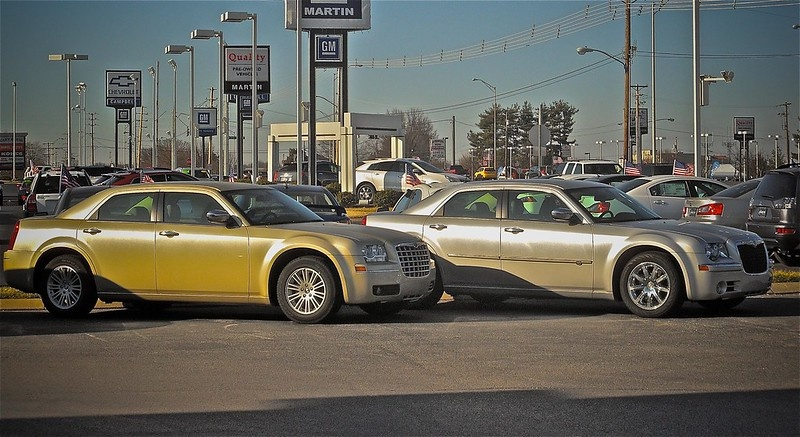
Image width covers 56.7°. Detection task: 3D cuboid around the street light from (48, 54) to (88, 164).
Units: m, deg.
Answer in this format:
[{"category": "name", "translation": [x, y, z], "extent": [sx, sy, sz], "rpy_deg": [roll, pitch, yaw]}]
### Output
[{"category": "street light", "translation": [-24.864, -8.699, 55.602], "extent": [2.801, 6.871, 2.342], "rpy_deg": [-1, -1, -10]}]

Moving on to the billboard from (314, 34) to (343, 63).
[{"category": "billboard", "translation": [-5.187, -12.096, 52.910], "extent": [2.179, 1.918, 0.157], "rpy_deg": [-8, 17, -33]}]

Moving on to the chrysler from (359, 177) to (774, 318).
[{"category": "chrysler", "translation": [3.068, 0.597, 15.212], "extent": [7.977, 2.336, 3.102], "rpy_deg": [-3, -3, 21]}]

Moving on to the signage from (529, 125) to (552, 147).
[{"category": "signage", "translation": [7.262, -4.269, 38.697], "extent": [1.333, 1.232, 0.299], "rpy_deg": [2, 4, 10]}]

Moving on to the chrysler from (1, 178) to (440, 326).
[{"category": "chrysler", "translation": [-3.505, 0.707, 14.904], "extent": [7.869, 2.294, 3.080], "rpy_deg": [-1, -2, 12]}]

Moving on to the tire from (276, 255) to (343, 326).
[{"category": "tire", "translation": [-1.639, 1.270, 13.468], "extent": [1.273, 1.183, 0.440], "rpy_deg": [5, -2, 14]}]

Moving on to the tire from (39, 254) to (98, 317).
[{"category": "tire", "translation": [-6.410, 1.262, 14.311], "extent": [1.170, 1.087, 0.367], "rpy_deg": [-8, -8, 12]}]

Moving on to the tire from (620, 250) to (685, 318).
[{"category": "tire", "translation": [4.726, 1.187, 13.793], "extent": [1.239, 1.159, 0.398], "rpy_deg": [-8, -3, 25]}]

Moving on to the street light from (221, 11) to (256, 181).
[{"category": "street light", "translation": [-9.199, -6.847, 42.058], "extent": [2.358, 9.322, 1.288], "rpy_deg": [-8, 20, -32]}]

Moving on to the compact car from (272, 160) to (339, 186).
[{"category": "compact car", "translation": [-6.649, -3.146, 54.925], "extent": [4.204, 1.518, 2.255], "rpy_deg": [-6, 6, -34]}]

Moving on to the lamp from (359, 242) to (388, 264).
[{"category": "lamp", "translation": [-0.473, 0.620, 13.420], "extent": [0.574, 0.297, 0.388], "rpy_deg": [-2, 6, -8]}]
